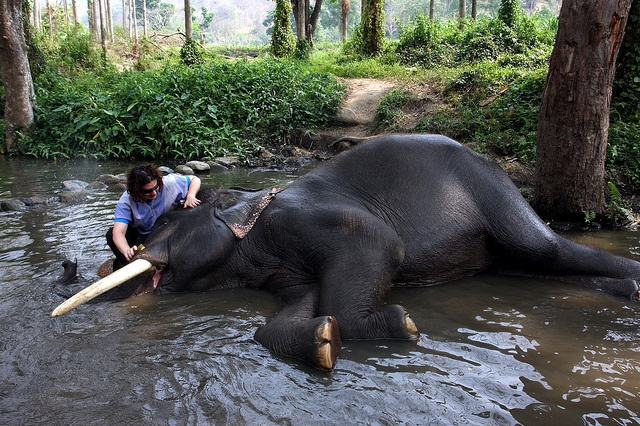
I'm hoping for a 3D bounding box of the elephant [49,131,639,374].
[{"bbox_3d":[0.504,0.097,6.411,5.541,1.866,1.469,2,13,4],"label":"elephant"}]
